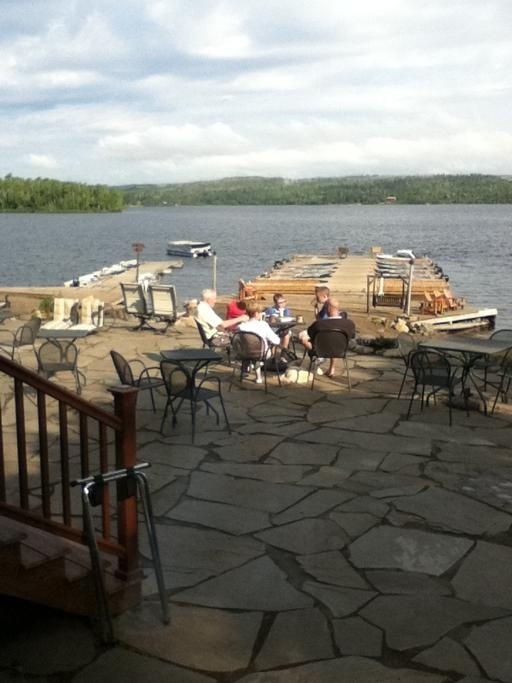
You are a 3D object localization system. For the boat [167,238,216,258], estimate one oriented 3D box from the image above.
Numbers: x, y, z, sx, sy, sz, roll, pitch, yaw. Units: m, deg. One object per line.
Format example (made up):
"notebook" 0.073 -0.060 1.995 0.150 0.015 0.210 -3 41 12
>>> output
"boat" -6.733 -9.361 59.067 4.292 1.575 5.827 -3 11 -11

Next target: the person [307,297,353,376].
"person" 0.993 -0.023 7.616 0.615 1.031 1.067 0 11 5

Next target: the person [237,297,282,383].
"person" 0.039 0.031 7.341 0.504 1.033 0.937 -1 11 1
